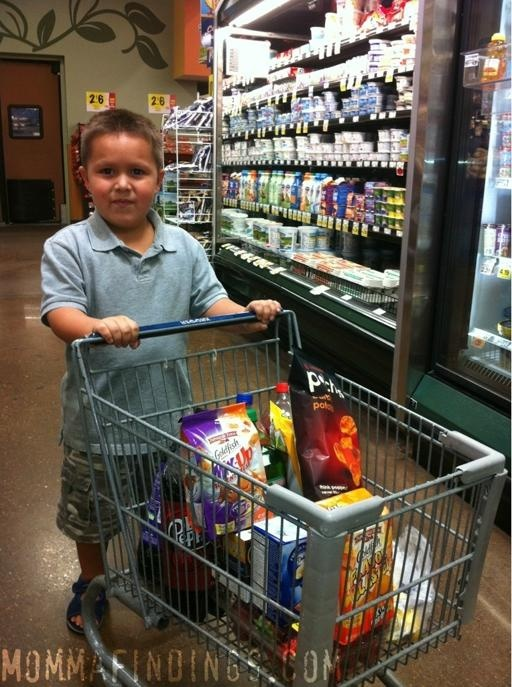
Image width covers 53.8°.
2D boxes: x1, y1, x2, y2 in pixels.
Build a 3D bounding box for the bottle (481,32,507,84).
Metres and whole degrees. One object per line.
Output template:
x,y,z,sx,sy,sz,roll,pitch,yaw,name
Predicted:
0.891,-1.073,1.889,0.098,0.164,0.036,13,21,38,bottle
